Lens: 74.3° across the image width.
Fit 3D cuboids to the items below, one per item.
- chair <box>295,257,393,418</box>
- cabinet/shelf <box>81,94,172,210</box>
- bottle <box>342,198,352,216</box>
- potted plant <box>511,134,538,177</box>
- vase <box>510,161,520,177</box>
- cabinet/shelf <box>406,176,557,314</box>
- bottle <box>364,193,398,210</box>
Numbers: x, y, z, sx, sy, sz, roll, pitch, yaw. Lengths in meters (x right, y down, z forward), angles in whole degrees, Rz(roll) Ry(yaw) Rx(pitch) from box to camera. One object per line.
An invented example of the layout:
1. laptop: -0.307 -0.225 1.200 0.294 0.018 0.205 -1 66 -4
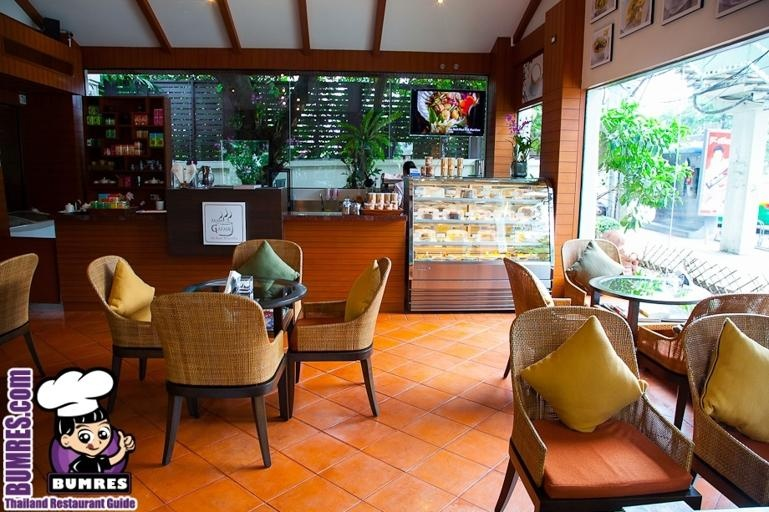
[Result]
1. chair: -0.466 0.694 5.235 1.287 1.723 1.226 3 3 -5
2. cabinet/shelf: -4.716 -1.908 9.350 1.600 2.031 0.464 2 11 2
3. bottle: -0.525 -0.681 7.012 0.087 0.149 0.240 -1 11 -10
4. potted plant: 1.989 -1.448 7.374 0.272 0.580 0.571 4 12 15
5. vase: 1.857 -1.244 7.240 0.044 0.212 0.123 -9 15 -41
6. cabinet/shelf: 1.226 -0.213 6.684 1.874 1.697 0.770 0 4 -2
7. bottle: -0.033 -0.753 6.940 0.497 0.227 0.262 -1 11 -9
